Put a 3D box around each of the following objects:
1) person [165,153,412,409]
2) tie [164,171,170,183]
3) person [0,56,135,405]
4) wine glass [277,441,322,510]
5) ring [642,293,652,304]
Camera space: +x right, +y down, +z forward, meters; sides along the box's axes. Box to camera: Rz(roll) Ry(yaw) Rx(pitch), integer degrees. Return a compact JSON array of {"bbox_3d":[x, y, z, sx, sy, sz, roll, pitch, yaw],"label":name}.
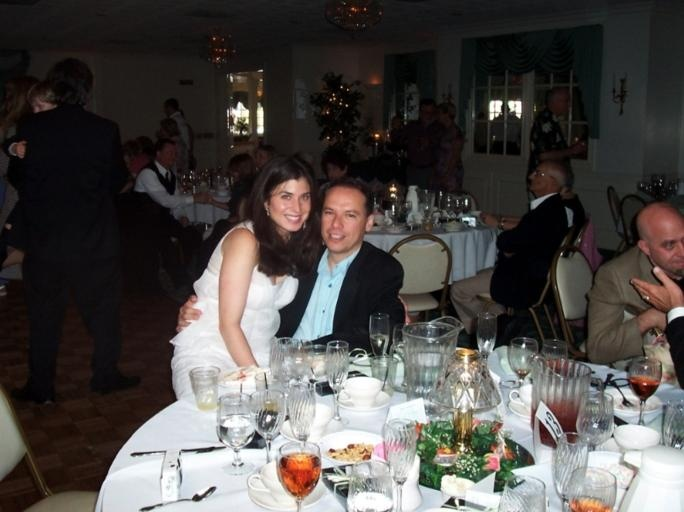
[{"bbox_3d":[-0.321,0.131,2.397,0.828,1.150,0.662,-5,16,-33],"label":"person"},{"bbox_3d":[-2.031,-0.924,5.801,0.080,0.114,0.036,4,-1,-29],"label":"tie"},{"bbox_3d":[-1.828,-0.132,3.485,0.753,2.271,0.634,0,9,-20],"label":"person"},{"bbox_3d":[-0.096,0.512,1.163,0.096,0.185,0.163,-2,14,-4],"label":"wine glass"},{"bbox_3d":[1.324,0.185,2.160,0.020,0.042,0.056,-35,-7,-1],"label":"ring"}]
